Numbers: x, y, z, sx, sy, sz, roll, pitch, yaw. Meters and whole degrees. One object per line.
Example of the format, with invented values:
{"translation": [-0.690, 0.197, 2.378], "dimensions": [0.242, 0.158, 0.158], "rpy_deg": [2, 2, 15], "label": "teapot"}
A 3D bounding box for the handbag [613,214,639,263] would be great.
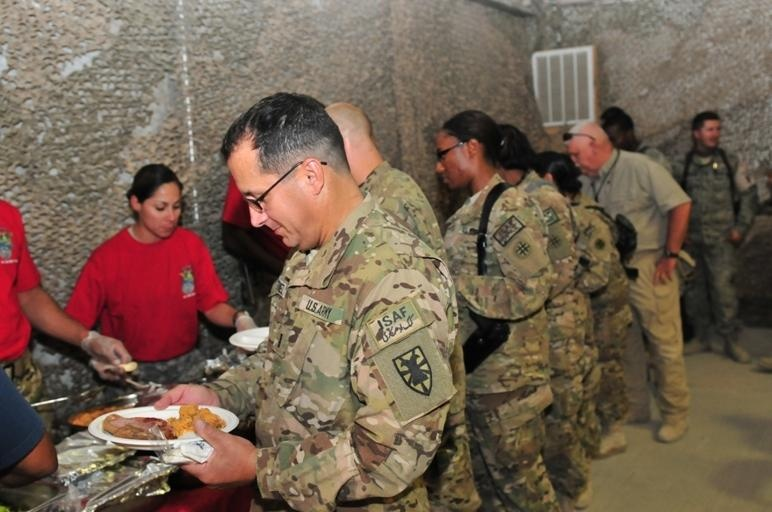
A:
{"translation": [1.961, -0.148, 5.478], "dimensions": [0.236, 0.378, 0.094], "rpy_deg": [-11, -1, 41], "label": "handbag"}

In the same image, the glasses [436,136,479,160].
{"translation": [0.402, -0.649, 4.032], "dimensions": [0.138, 0.038, 0.133], "rpy_deg": [-29, 0, -5], "label": "glasses"}

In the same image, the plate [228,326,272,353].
{"translation": [-0.741, 0.470, 3.647], "dimensions": [0.200, 0.105, 0.510], "rpy_deg": [-10, 10, -13], "label": "plate"}

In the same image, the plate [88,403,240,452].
{"translation": [-0.976, 0.759, 2.933], "dimensions": [0.625, 0.157, 0.349], "rpy_deg": [-3, 11, 22], "label": "plate"}

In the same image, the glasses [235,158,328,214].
{"translation": [-0.443, -0.279, 2.749], "dimensions": [0.247, 0.065, 0.232], "rpy_deg": [-33, 6, 3], "label": "glasses"}
